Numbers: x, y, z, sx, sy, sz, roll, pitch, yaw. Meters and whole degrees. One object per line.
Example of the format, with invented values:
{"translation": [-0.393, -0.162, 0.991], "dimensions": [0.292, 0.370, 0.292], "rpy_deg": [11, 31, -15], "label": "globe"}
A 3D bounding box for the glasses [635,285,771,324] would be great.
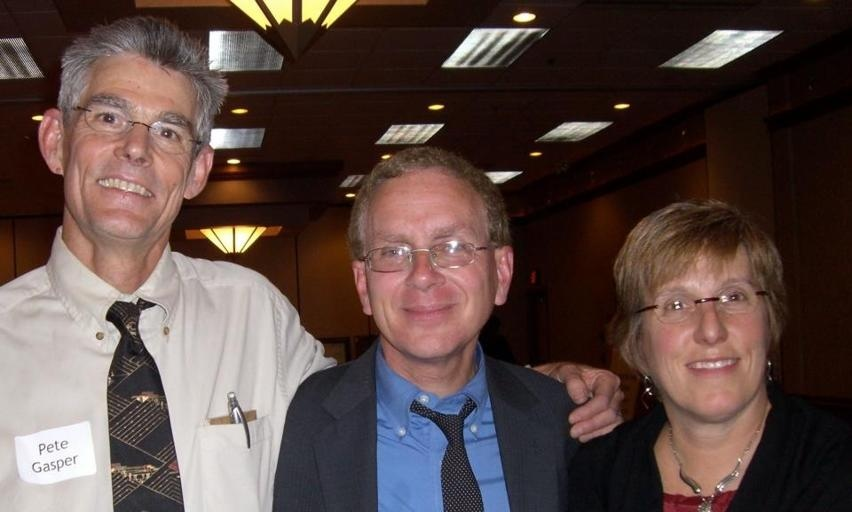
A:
{"translation": [1.282, 0.228, 3.229], "dimensions": [0.577, 0.127, 0.147], "rpy_deg": [-1, -1, 23], "label": "glasses"}
